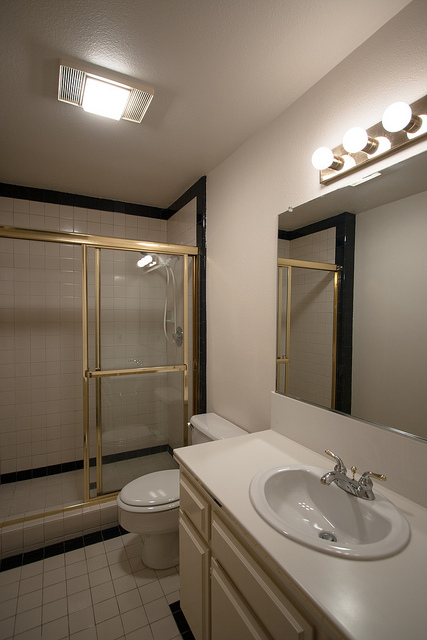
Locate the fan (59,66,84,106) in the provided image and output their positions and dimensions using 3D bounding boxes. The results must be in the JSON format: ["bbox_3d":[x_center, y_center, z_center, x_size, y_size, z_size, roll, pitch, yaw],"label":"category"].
[{"bbox_3d":[-0.542,-0.893,1.682,0.083,0.171,0.013,7,-24,-26],"label":"fan"}]

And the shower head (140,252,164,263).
[{"bbox_3d":[-0.352,-0.365,2.568,0.022,0.072,0.147,7,16,44],"label":"shower head"}]

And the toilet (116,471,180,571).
[{"bbox_3d":[-0.221,0.974,2.102,0.341,0.346,0.290,-16,-5,6],"label":"toilet"}]
